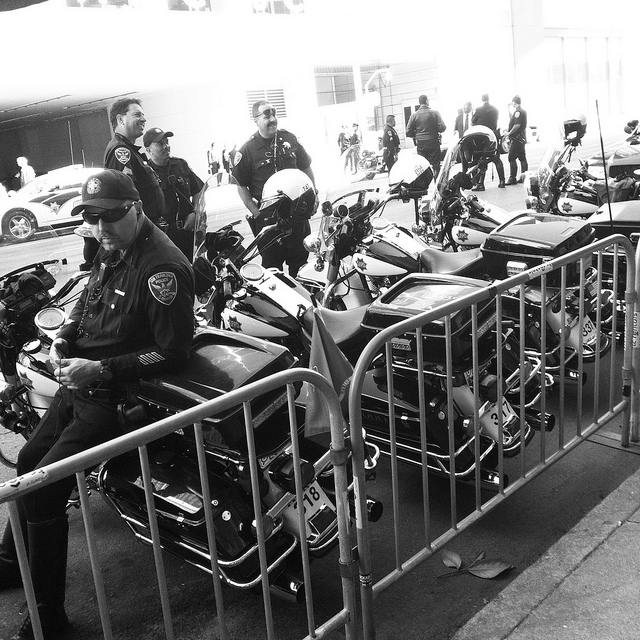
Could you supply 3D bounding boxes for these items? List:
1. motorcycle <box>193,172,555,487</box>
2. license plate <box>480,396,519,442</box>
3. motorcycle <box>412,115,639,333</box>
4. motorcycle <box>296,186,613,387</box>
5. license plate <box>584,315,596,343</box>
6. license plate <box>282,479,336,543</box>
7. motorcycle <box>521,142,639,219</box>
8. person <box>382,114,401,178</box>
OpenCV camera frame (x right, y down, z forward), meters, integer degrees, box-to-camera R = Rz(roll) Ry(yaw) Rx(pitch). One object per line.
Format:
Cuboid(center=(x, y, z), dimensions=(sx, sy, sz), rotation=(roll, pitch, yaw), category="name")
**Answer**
Cuboid(center=(-0.015, 0.003, 3.564), dimensions=(2.396, 1.662, 0.833), rotation=(8, 21, 23), category="motorcycle")
Cuboid(center=(0.853, 0.453, 3.061), dimensions=(0.196, 0.211, 0.047), rotation=(-46, 38, -18), category="license plate")
Cuboid(center=(1.663, -0.956, 5.415), dimensions=(1.927, 1.445, 1.280), rotation=(8, 20, 27), category="motorcycle")
Cuboid(center=(0.721, -0.209, 4.777), dimensions=(2.405, 1.445, 1.172), rotation=(7, 17, 32), category="motorcycle")
Cuboid(center=(1.759, 0.059, 4.114), dimensions=(0.058, 0.120, 0.204), rotation=(1, 15, 25), category="license plate")
Cuboid(center=(-0.052, 0.743, 2.538), dimensions=(0.149, 0.231, 0.219), rotation=(4, 15, 36), category="license plate")
Cuboid(center=(2.441, -1.282, 5.917), dimensions=(1.004, 0.759, 0.709), rotation=(-10, 20, 0), category="motorcycle")
Cuboid(center=(1.833, -4.692, 16.475), dimensions=(0.439, 1.309, 1.438), rotation=(-3, 13, 8), category="person")
